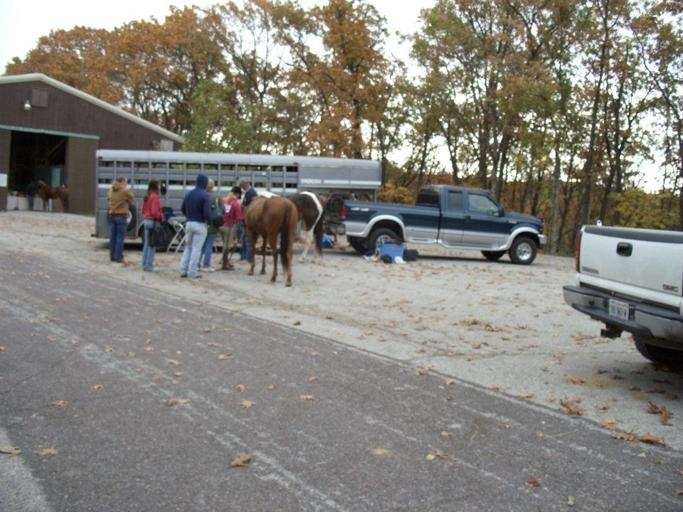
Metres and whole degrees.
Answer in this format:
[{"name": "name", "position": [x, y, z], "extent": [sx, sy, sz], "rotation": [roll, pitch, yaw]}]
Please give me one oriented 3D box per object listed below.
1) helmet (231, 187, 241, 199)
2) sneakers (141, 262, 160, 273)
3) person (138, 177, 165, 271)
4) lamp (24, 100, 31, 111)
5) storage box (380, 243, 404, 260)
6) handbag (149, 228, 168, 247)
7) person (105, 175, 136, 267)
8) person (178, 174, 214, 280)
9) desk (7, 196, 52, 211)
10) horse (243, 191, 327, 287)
[{"name": "helmet", "position": [-2.789, -1.683, 16.147], "extent": [0.230, 0.344, 0.346], "rotation": [0, 10, -15]}, {"name": "sneakers", "position": [-4.706, 0.275, 14.852], "extent": [0.523, 0.270, 0.198], "rotation": [-1, 14, -30]}, {"name": "person", "position": [-4.610, -0.741, 14.811], "extent": [0.504, 2.176, 0.753], "rotation": [-1, 10, -19]}, {"name": "lamp", "position": [-17.322, -8.268, 33.499], "extent": [0.391, 0.625, 0.709], "rotation": [-2, 11, -24]}, {"name": "storage box", "position": [1.590, -0.155, 19.164], "extent": [0.770, 0.451, 0.594], "rotation": [3, 10, 4]}, {"name": "handbag", "position": [-4.421, -0.456, 14.616], "extent": [0.164, 0.459, 0.403], "rotation": [-2, -2, 30]}, {"name": "person", "position": [-5.733, -0.913, 15.772], "extent": [0.552, 2.222, 1.015], "rotation": [-2, 10, -22]}, {"name": "person", "position": [-3.425, -0.702, 14.265], "extent": [0.715, 2.319, 0.715], "rotation": [-1, 9, -15]}, {"name": "desk", "position": [-18.042, -3.044, 34.827], "extent": [0.823, 0.869, 2.890], "rotation": [6, 11, 24]}, {"name": "horse", "position": [-1.608, -0.427, 14.542], "extent": [0.905, 1.993, 2.126], "rotation": [-3, 11, -28]}]
